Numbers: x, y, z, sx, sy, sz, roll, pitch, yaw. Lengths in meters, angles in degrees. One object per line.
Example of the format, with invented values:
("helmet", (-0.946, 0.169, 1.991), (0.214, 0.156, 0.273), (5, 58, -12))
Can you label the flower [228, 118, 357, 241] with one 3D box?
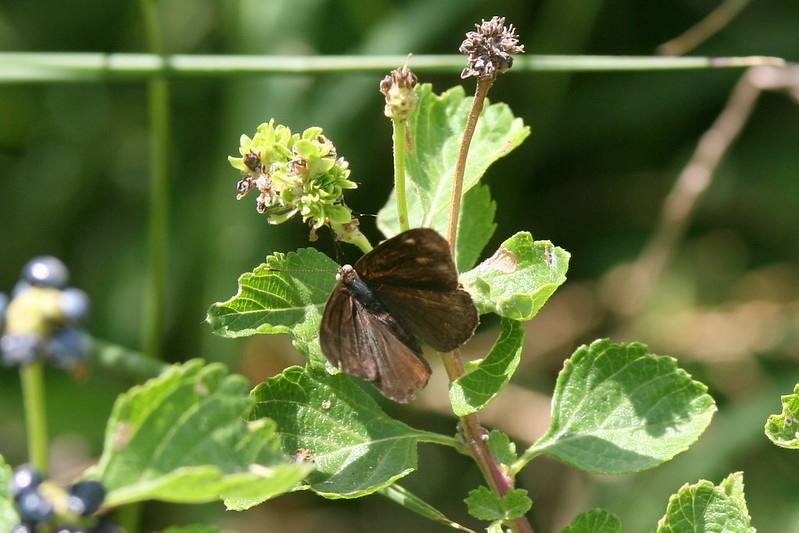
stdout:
("flower", (-0.392, -0.318, 2.937), (0.554, 0.334, 0.415), (6, -18, -44))

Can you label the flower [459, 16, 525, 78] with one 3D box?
("flower", (0.325, -0.805, 2.883), (0.195, 0.175, 0.138), (-2, -54, -48))
